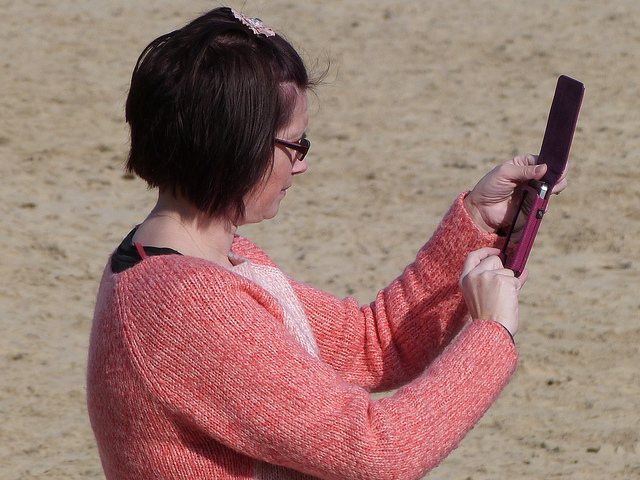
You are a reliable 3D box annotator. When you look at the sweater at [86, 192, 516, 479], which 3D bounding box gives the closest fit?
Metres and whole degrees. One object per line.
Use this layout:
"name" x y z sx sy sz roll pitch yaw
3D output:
"sweater" -0.163 0.658 9.147 1.885 1.204 1.466 -6 15 -9
